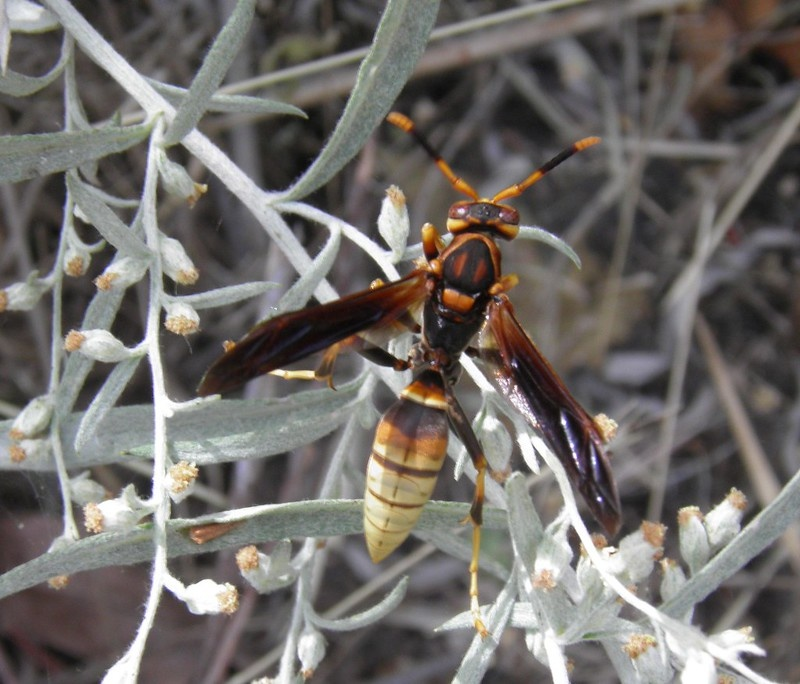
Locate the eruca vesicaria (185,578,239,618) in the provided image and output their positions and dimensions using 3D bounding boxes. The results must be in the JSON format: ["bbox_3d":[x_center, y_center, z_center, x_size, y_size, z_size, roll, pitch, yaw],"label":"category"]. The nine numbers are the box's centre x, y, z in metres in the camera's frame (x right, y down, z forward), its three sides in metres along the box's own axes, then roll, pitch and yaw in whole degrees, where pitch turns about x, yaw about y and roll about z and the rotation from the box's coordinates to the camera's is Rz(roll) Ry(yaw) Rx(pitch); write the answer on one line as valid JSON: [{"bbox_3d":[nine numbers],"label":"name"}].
[{"bbox_3d":[-0.672,0.916,3.995,0.162,0.087,0.127,-4,-66,11],"label":"eruca vesicaria"}]

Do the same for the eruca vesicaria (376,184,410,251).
[{"bbox_3d":[-0.014,-0.483,4.320,0.126,0.078,0.252,-7,-96,50],"label":"eruca vesicaria"}]

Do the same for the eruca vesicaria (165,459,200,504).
[{"bbox_3d":[-0.796,0.509,4.045,0.108,0.056,0.149,2,-100,3],"label":"eruca vesicaria"}]

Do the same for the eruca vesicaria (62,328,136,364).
[{"bbox_3d":[-1.132,0.006,4.132,0.205,0.126,0.082,13,-60,15],"label":"eruca vesicaria"}]

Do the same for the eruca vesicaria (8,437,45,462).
[{"bbox_3d":[-1.434,0.401,4.245,0.119,0.096,0.094,-16,-64,13],"label":"eruca vesicaria"}]

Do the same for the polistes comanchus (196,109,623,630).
[{"bbox_3d":[0.208,-0.060,4.335,1.651,1.974,0.590,12,-22,11],"label":"polistes comanchus"}]

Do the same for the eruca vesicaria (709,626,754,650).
[{"bbox_3d":[1.221,1.099,3.976,0.127,0.129,0.039,13,-63,49],"label":"eruca vesicaria"}]

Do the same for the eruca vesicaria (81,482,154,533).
[{"bbox_3d":[-1.025,0.617,4.000,0.210,0.114,0.199,-15,-30,13],"label":"eruca vesicaria"}]

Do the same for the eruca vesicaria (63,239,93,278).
[{"bbox_3d":[-1.297,-0.335,4.421,0.096,0.093,0.132,14,-61,-3],"label":"eruca vesicaria"}]

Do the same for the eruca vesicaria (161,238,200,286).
[{"bbox_3d":[-0.843,-0.305,4.284,0.124,0.049,0.188,-33,-95,7],"label":"eruca vesicaria"}]

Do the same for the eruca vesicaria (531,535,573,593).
[{"bbox_3d":[0.552,0.803,3.983,0.128,0.131,0.159,12,-61,-2],"label":"eruca vesicaria"}]

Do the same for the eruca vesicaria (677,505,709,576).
[{"bbox_3d":[1.101,0.738,4.160,0.095,0.089,0.273,4,-98,-30],"label":"eruca vesicaria"}]

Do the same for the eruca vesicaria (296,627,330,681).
[{"bbox_3d":[-0.351,1.222,4.327,0.103,0.204,0.215,8,-61,1],"label":"eruca vesicaria"}]

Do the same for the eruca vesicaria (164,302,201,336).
[{"bbox_3d":[-0.841,-0.090,4.216,0.131,0.052,0.121,27,-104,-30],"label":"eruca vesicaria"}]

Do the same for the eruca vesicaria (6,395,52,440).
[{"bbox_3d":[-1.409,0.288,4.237,0.120,0.175,0.055,49,-26,-15],"label":"eruca vesicaria"}]

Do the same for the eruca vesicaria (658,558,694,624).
[{"bbox_3d":[1.032,0.922,4.141,0.146,0.057,0.230,-17,-102,33],"label":"eruca vesicaria"}]
